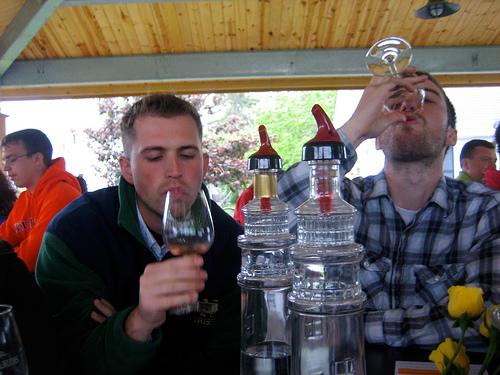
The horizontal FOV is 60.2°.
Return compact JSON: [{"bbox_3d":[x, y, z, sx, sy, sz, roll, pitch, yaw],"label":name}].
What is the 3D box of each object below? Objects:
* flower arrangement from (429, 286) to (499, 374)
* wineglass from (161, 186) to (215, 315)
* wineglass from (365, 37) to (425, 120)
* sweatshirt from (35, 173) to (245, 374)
[{"bbox_3d":[0.528,0.357,1.075,0.157,0.229,0.142,-5,-6,19],"label":"flower arrangement"},{"bbox_3d":[-0.186,0.103,1.271,0.132,0.194,0.097,-5,-6,25],"label":"wineglass"},{"bbox_3d":[0.563,-0.400,1.572,0.142,0.266,0.301,-8,-8,43],"label":"wineglass"},{"bbox_3d":[-0.493,0.331,1.635,0.602,0.260,0.765,5,33,-13],"label":"sweatshirt"}]
